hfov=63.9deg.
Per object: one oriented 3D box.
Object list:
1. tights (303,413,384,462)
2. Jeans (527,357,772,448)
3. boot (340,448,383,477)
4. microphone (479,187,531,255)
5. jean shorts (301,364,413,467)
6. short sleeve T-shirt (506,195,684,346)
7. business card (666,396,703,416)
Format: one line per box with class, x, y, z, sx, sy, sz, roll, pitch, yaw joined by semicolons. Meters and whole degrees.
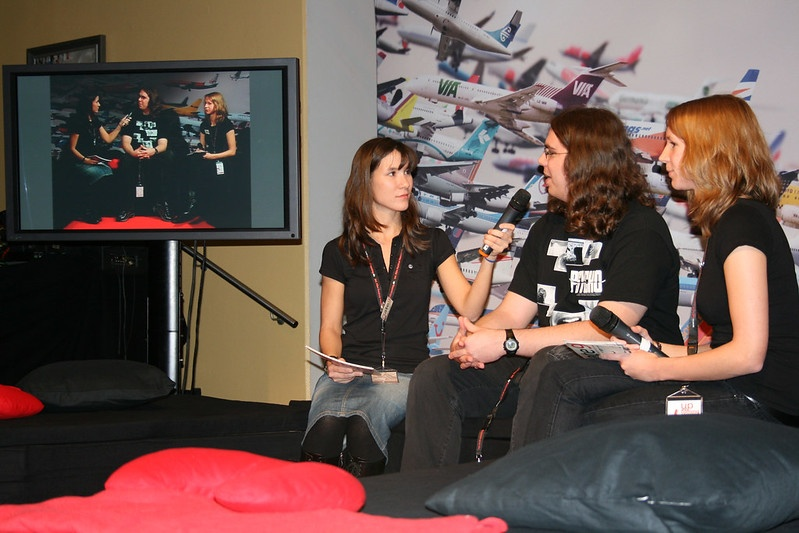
tights;-0.229;0.729;2.721;0.234;0.272;0.107;0;-2;-3
Jeans;0.854;0.471;2.323;0.708;0.274;0.375;0;-28;-18
boot;-0.162;0.838;2.734;0.141;0.140;0.134;-3;9;-21
microphone;0.546;-0.231;3.213;0.125;0.464;0.138;33;41;-7
jean shorts;-0.165;0.716;2.811;0.176;0.445;0.348;9;32;-32
short sleeve T-shirt;0.923;0.012;2.879;0.562;0.596;0.905;-4;2;-42
business card;0.992;0.481;2.210;0.089;0.050;0.009;0;3;9
